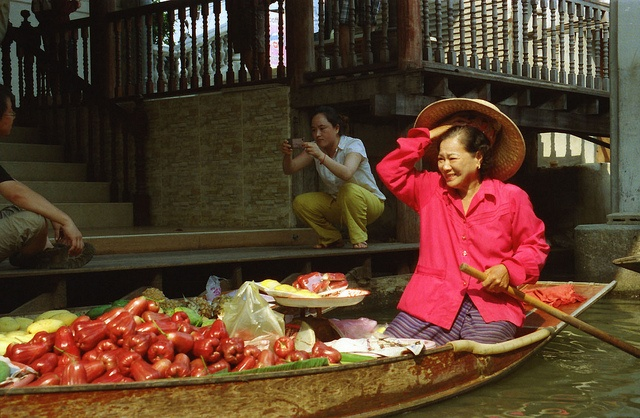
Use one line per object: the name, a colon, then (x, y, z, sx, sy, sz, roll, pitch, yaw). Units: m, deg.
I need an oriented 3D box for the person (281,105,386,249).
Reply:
person: (0.244, -0.390, 8.467, 1.105, 1.787, 0.775, -1, 6, 5)

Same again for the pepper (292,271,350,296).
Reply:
pepper: (0.015, 0.631, 5.666, 0.349, 0.173, 0.230, 0, 4, -10)

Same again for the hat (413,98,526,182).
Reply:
hat: (1.322, -0.634, 6.131, 0.960, 1.011, 0.295, 5, 40, 24)

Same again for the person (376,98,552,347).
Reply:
person: (1.284, 0.134, 6.018, 1.092, 2.614, 1.100, -1, 1, -40)

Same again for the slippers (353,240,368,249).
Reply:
slippers: (0.509, 0.460, 8.471, 0.183, 0.072, 0.107, -2, 6, -3)

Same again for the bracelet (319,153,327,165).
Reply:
bracelet: (0.040, -0.596, 8.165, 0.092, 0.128, 0.196, -2, 6, -1)
